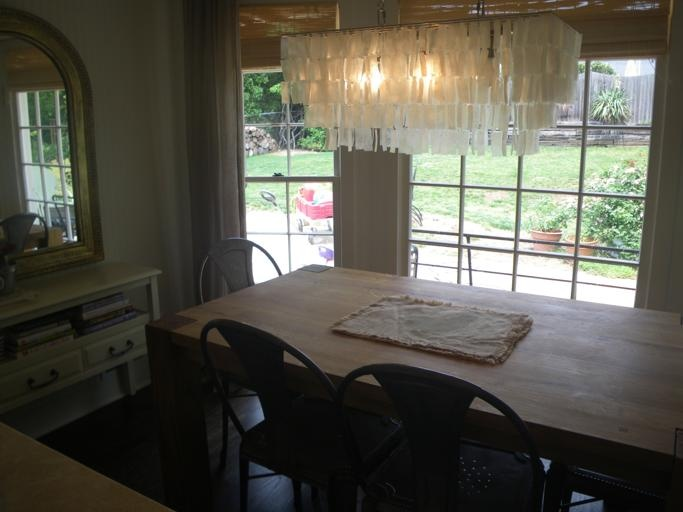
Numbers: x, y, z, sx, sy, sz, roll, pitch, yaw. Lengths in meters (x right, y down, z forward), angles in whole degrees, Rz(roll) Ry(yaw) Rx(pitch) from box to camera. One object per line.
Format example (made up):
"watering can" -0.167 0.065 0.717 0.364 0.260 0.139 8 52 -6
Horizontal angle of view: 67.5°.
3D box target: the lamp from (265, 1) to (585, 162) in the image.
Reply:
"lamp" 0.354 -0.677 2.200 1.071 0.498 0.399 -4 -10 10
